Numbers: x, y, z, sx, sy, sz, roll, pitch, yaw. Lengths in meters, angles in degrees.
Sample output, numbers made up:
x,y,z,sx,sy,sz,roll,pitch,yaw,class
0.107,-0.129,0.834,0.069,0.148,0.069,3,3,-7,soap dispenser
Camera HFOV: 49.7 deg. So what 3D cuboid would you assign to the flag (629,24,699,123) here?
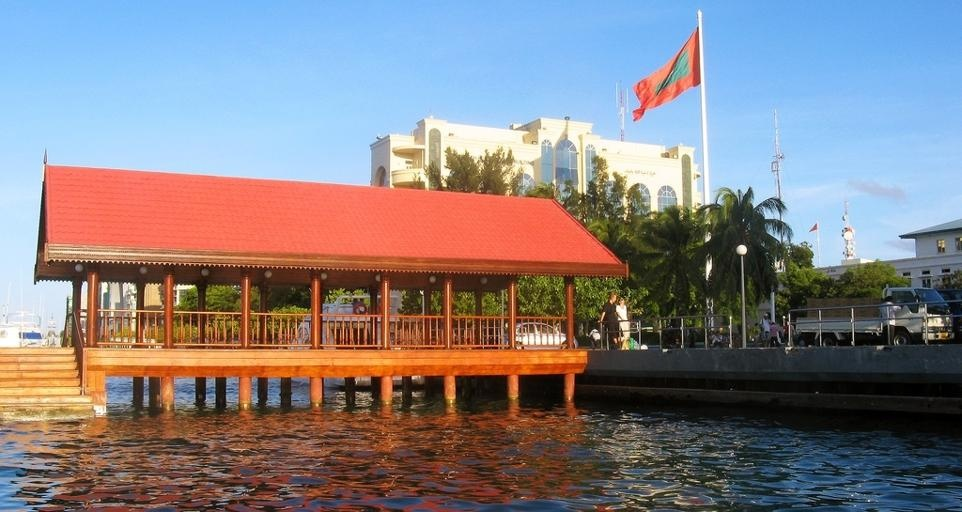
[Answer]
x,y,z,sx,sy,sz,roll,pitch,yaw,class
10.595,-10.580,59.558,4.442,4.514,0.613,-14,-25,41,flag
